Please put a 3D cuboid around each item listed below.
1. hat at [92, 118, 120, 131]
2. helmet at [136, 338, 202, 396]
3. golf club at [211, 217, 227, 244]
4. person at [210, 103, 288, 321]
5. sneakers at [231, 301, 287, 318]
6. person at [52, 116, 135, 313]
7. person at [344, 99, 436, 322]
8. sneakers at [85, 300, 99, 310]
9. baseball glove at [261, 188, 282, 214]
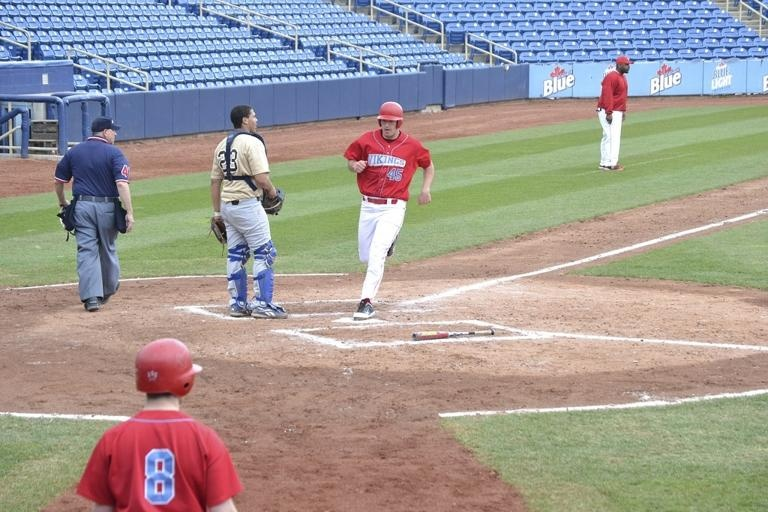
[{"bbox_3d":[-3.667,-1.731,17.099,0.339,0.134,0.218,-3,14,-31],"label":"hat"},{"bbox_3d":[-2.137,1.040,12.120,0.677,0.409,0.519,-5,13,-36],"label":"helmet"},{"bbox_3d":[-2.174,-0.341,17.199,0.174,0.356,0.136,-13,27,19],"label":"golf club"},{"bbox_3d":[-1.791,-0.403,16.926,0.949,2.457,0.544,0,14,0],"label":"person"},{"bbox_3d":[-1.636,0.714,16.993,0.741,0.237,0.242,0,2,1],"label":"sneakers"},{"bbox_3d":[-3.818,-0.550,17.108,0.944,2.532,0.738,-3,14,-12],"label":"person"},{"bbox_3d":[-0.025,-0.626,17.154,0.995,2.791,1.279,6,15,22],"label":"person"},{"bbox_3d":[-3.863,0.645,17.172,0.201,0.152,0.297,-2,11,-11],"label":"sneakers"},{"bbox_3d":[-1.466,-0.703,17.083,0.315,0.249,0.322,-1,6,-1],"label":"baseball glove"}]
